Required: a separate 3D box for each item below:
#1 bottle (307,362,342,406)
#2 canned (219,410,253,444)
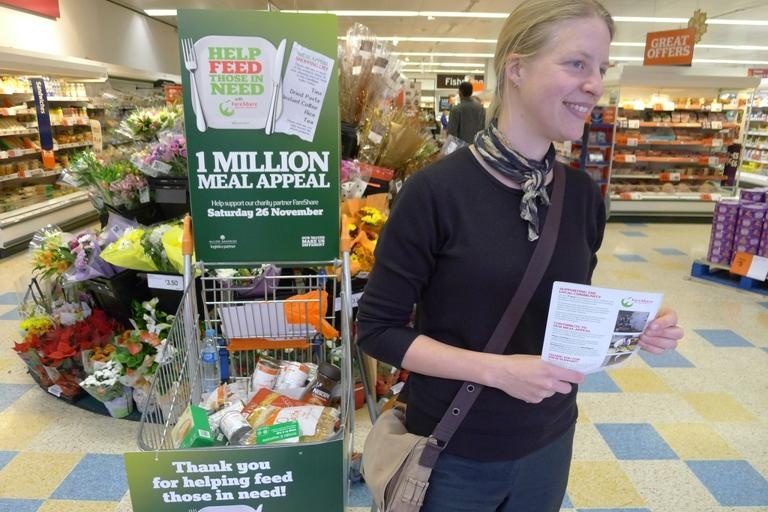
[{"bbox_3d":[-0.258,0.571,2.109,0.118,0.220,0.078,26,-20,-1],"label":"bottle"},{"bbox_3d":[-0.568,0.662,1.843,0.136,0.083,0.078,16,21,41],"label":"canned"}]
